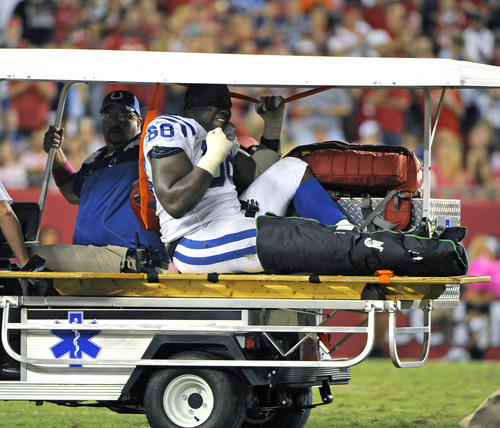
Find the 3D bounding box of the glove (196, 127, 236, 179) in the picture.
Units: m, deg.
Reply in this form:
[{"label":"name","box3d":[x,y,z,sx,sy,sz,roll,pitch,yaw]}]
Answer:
[{"label":"glove","box3d":[-0.327,-0.540,15.459,0.283,0.467,0.195,32,-18,1]}]

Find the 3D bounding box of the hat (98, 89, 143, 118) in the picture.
[{"label":"hat","box3d":[-1.272,-1.072,16.627,0.354,0.216,0.471,2,-6,14]}]

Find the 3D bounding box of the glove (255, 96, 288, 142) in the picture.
[{"label":"glove","box3d":[0.192,-0.883,16.091,0.273,0.422,0.185,1,-4,-1]}]
